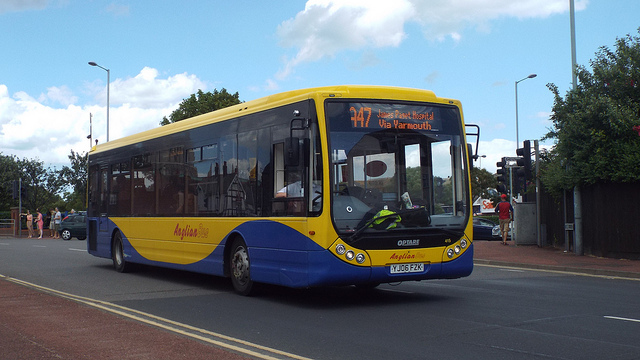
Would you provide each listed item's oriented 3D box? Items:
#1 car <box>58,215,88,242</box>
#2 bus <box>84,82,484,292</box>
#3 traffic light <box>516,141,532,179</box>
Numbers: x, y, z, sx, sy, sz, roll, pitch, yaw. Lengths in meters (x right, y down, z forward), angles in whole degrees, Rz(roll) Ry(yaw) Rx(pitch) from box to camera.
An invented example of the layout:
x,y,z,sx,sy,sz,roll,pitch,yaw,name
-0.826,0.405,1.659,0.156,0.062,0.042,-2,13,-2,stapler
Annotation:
x,y,z,sx,sy,sz,roll,pitch,yaw,name
-20.552,3.956,40.049,2.761,2.065,0.847,-2,-2,29,car
-3.177,0.334,16.301,5.452,4.350,15.121,3,-6,-37,bus
9.941,-0.942,23.273,0.603,1.751,1.181,-1,-2,22,traffic light
